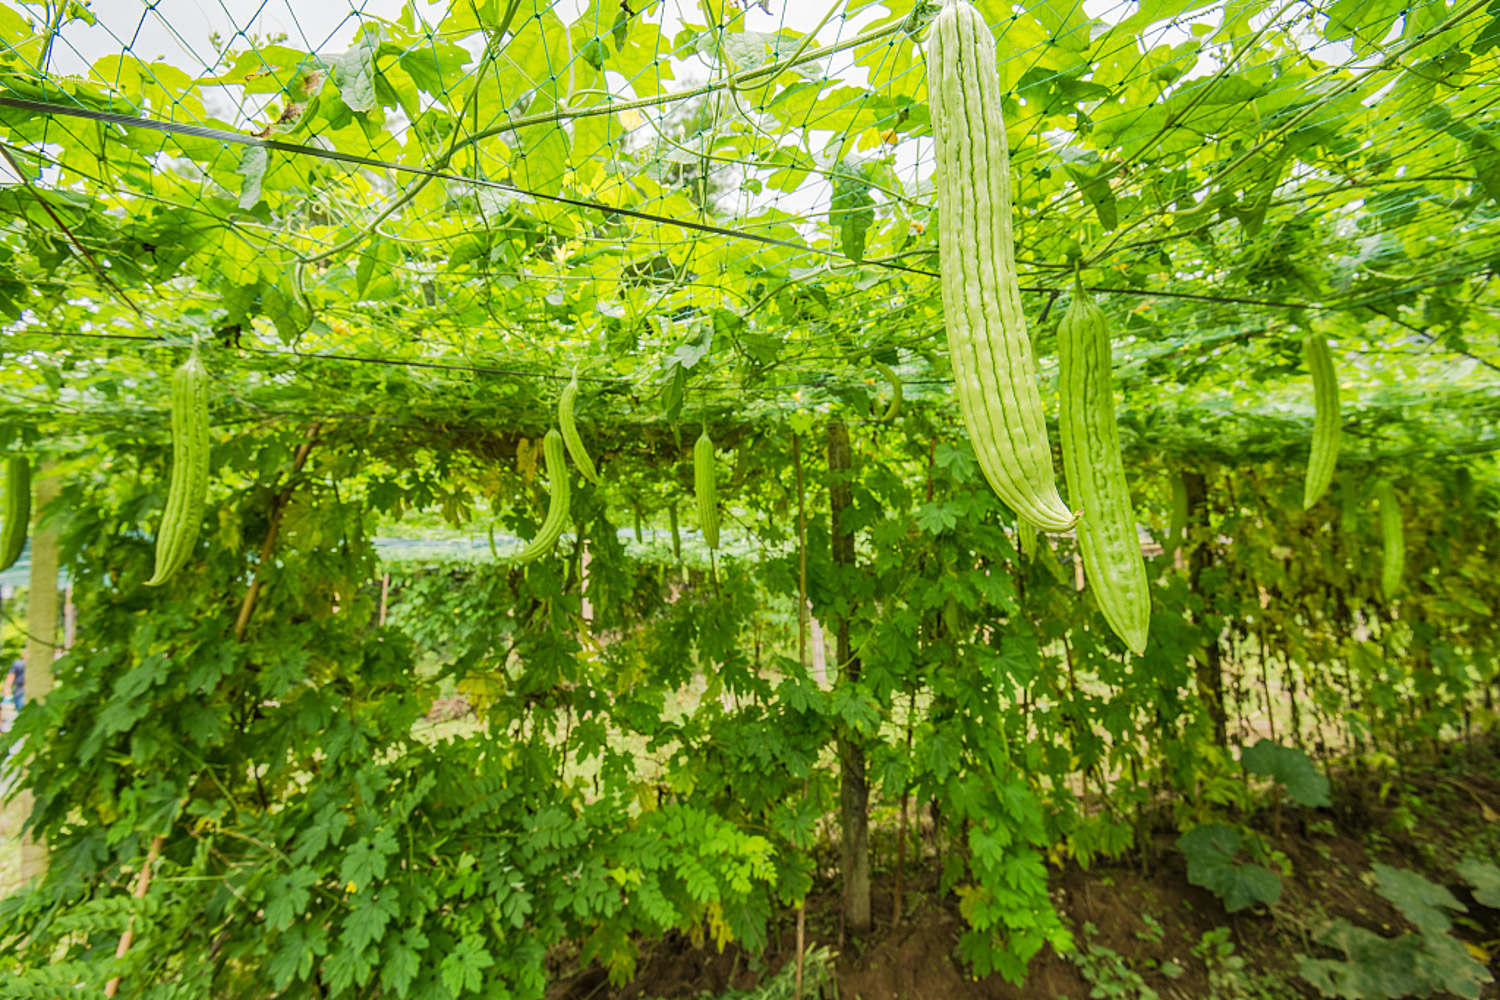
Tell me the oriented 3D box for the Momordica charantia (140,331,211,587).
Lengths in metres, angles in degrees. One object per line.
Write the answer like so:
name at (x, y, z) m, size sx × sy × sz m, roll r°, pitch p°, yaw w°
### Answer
Momordica charantia at (-2.092, -0.159, 3.189) m, size 0.159 × 0.906 × 0.347 m, roll 3°, pitch -12°, yaw -34°

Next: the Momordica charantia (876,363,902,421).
Momordica charantia at (0.653, -0.525, 4.100) m, size 0.124 × 0.065 × 0.321 m, roll 9°, pitch -35°, yaw 29°

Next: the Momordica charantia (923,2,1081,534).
Momordica charantia at (0.688, -0.682, 2.523) m, size 0.272 × 1.561 × 0.285 m, roll -8°, pitch -11°, yaw 19°

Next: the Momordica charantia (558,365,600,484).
Momordica charantia at (-0.759, -0.308, 3.655) m, size 0.156 × 0.520 × 0.082 m, roll -11°, pitch 9°, yaw 17°

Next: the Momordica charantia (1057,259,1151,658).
Momordica charantia at (1.184, -0.113, 2.936) m, size 0.285 × 1.452 × 0.223 m, roll 5°, pitch -19°, yaw -14°

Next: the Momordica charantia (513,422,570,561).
Momordica charantia at (-0.894, -0.019, 3.728) m, size 0.240 × 0.600 × 0.171 m, roll 2°, pitch -2°, yaw -18°
